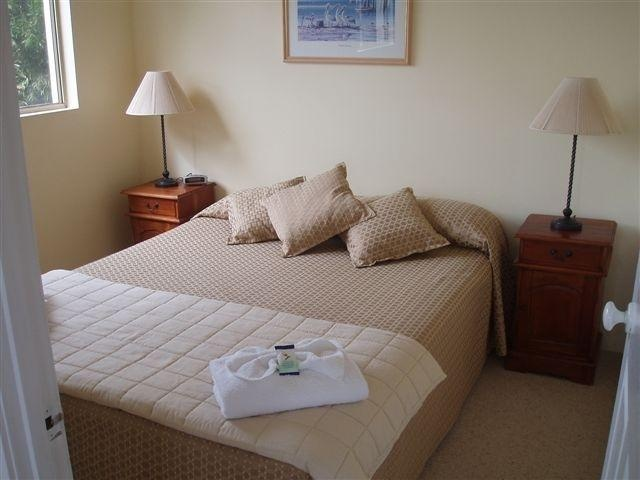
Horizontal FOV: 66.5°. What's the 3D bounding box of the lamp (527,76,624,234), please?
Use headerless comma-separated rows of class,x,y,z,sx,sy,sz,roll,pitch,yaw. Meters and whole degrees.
lamp,1.487,-0.503,2.834,0.486,0.847,0.352,-12,20,-30

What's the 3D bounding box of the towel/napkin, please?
towel/napkin,-0.120,0.493,1.730,0.347,0.121,0.293,-3,13,-9

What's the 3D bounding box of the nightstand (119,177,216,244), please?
nightstand,-1.228,-0.126,4.067,0.458,0.701,0.539,12,21,17

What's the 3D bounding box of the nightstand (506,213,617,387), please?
nightstand,1.411,0.344,2.900,0.505,0.884,0.441,8,20,27

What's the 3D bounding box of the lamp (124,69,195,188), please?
lamp,-1.252,-0.863,3.825,0.478,0.878,0.390,13,23,38
